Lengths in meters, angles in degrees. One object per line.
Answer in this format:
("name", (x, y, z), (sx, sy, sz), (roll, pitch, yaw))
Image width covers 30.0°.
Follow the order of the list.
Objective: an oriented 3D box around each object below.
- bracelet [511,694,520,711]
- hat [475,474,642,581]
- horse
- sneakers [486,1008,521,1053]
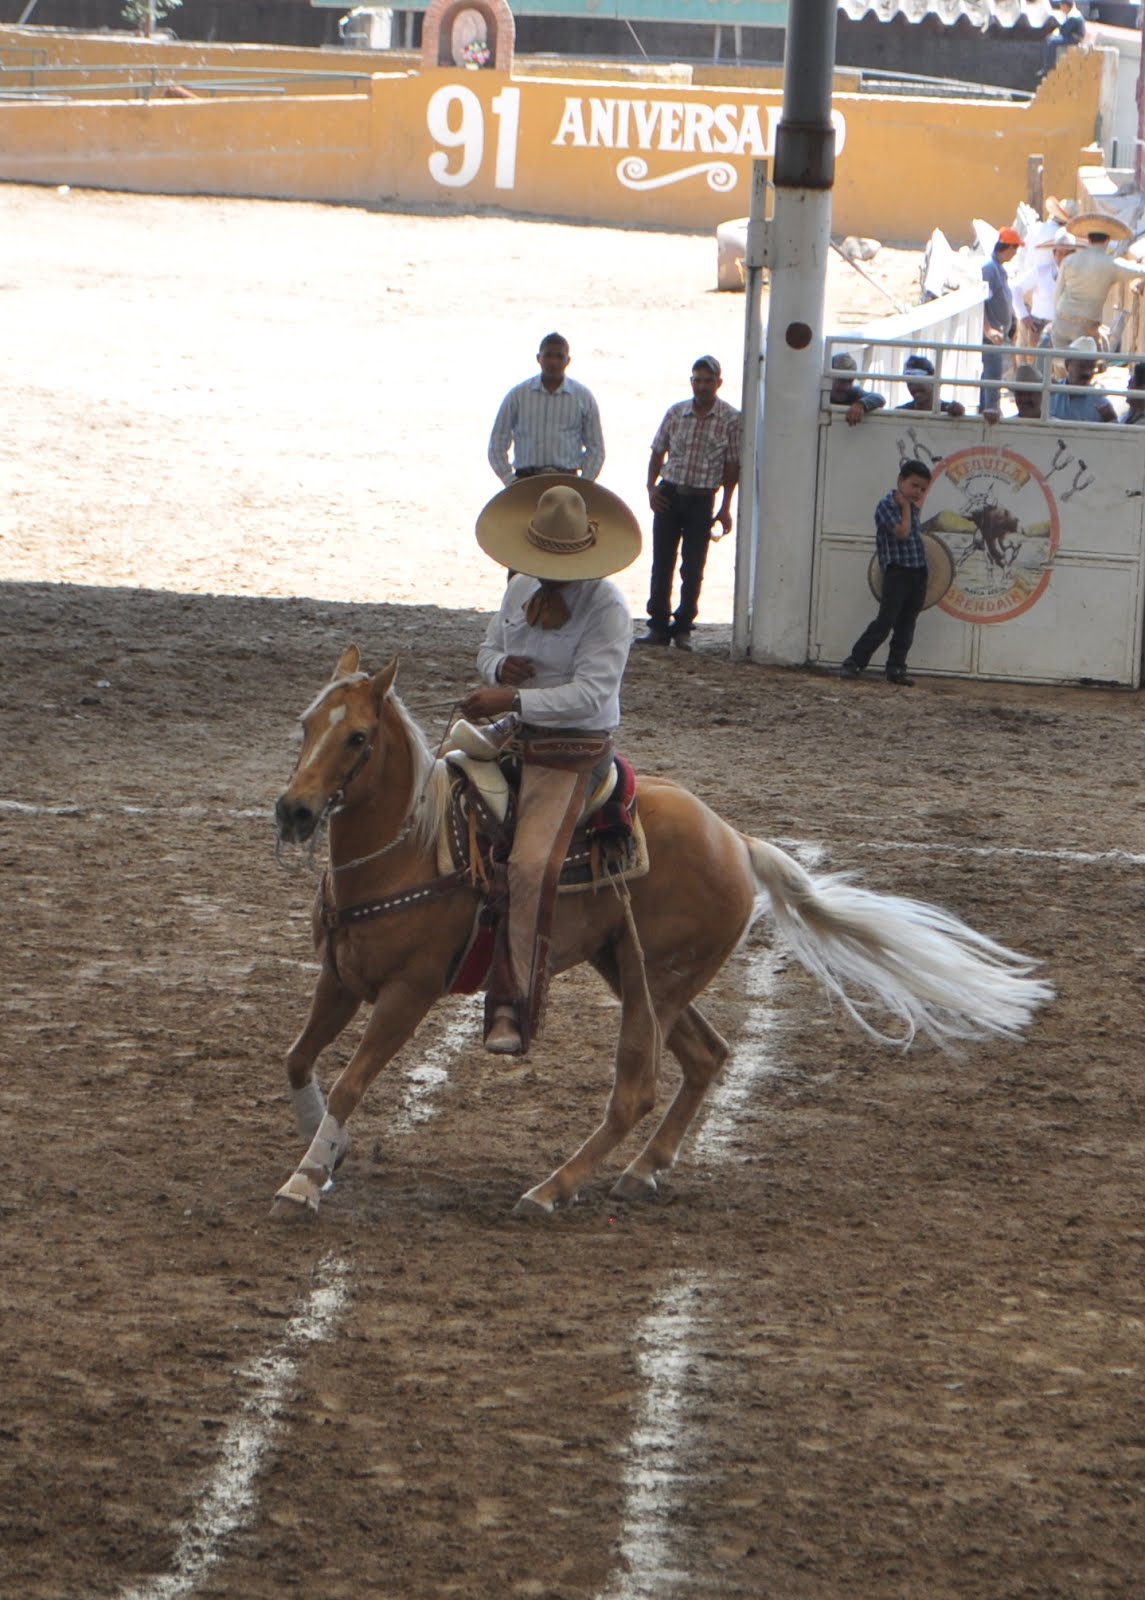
("bracelet", (-0.163, -0.279, 6.018), (0.033, 0.039, 0.016), (-3, -7, 5))
("hat", (-0.046, -0.786, 6.144), (0.500, 0.312, 0.433), (4, 7, 13))
("horse", (0.249, 0.471, 6.507), (2.966, 1.441, 0.745), (4, -4, -35))
("sneakers", (-0.192, 0.645, 6.000), (0.103, 0.135, 0.128), (3, 8, -4))
